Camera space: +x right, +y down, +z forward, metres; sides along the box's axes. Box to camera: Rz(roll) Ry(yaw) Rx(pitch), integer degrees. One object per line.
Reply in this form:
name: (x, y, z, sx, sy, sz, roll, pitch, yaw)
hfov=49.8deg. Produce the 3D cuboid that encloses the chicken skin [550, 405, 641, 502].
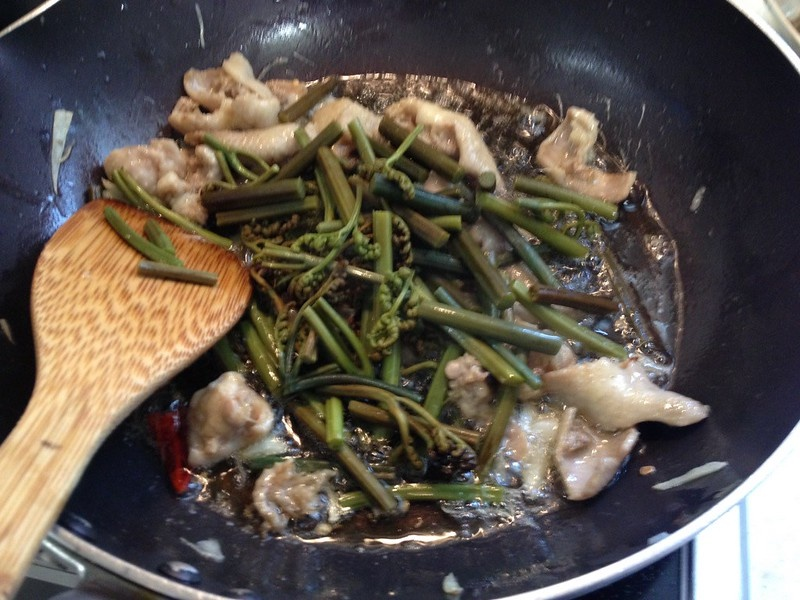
chicken skin: (0.682, 0.571, 3.087, 0.275, 0.118, 0.319, 17, 79, 5)

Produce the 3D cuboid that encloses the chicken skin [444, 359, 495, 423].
chicken skin: (0.249, 0.321, 3.091, 0.157, 0.101, 0.233, -5, 77, 1)

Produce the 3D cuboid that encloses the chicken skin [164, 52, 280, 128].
chicken skin: (-0.714, -0.849, 3.646, 0.438, 0.158, 0.458, 6, 50, 2)

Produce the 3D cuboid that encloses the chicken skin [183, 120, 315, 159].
chicken skin: (-0.569, -0.647, 3.506, 0.336, 0.086, 0.203, 6, 53, -2)

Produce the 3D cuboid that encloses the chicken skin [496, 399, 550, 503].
chicken skin: (0.467, 0.547, 3.143, 0.163, 0.073, 0.301, 15, 72, -1)

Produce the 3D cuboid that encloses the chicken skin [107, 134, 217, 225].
chicken skin: (-0.908, -0.503, 3.411, 0.357, 0.110, 0.381, -31, 95, -23)

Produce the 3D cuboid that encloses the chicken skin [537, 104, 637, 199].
chicken skin: (0.755, -0.554, 3.549, 0.374, 0.129, 0.384, 35, 74, -1)

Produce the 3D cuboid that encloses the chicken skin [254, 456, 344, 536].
chicken skin: (-0.361, 0.676, 3.011, 0.288, 0.064, 0.238, -10, 77, -1)

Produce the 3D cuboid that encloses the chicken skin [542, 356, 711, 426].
chicken skin: (0.793, 0.338, 3.030, 0.473, 0.115, 0.268, 15, 81, 9)
